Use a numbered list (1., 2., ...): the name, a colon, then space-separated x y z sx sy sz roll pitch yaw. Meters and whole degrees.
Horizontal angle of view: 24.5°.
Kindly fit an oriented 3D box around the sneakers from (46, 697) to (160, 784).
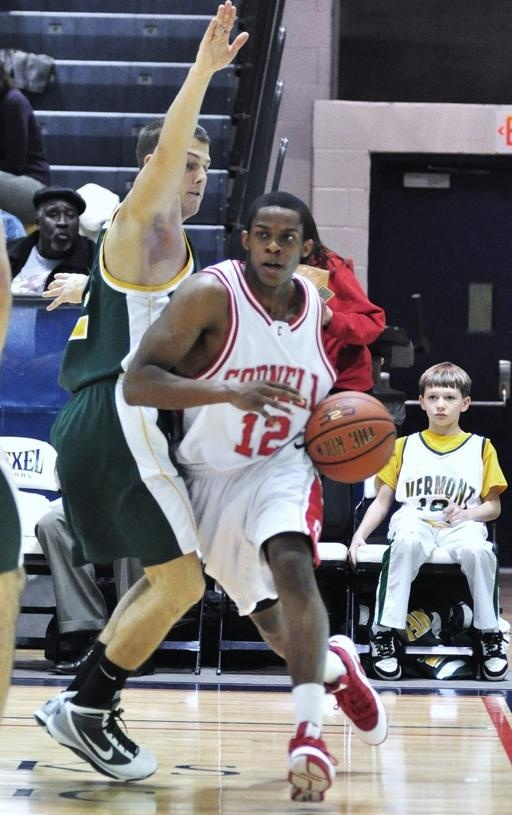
1. sneakers: -0.357 0.774 2.702 0.250 0.212 0.101 3 25 10

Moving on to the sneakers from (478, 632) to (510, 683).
1. sneakers: 0.803 0.858 4.017 0.079 0.073 0.179 -4 43 12

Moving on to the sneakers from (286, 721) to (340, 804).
1. sneakers: 0.128 0.746 2.428 0.079 0.208 0.095 2 51 10

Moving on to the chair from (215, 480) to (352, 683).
1. chair: 0.148 0.644 4.222 0.508 0.668 0.747 1 65 3

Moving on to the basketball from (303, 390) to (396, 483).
1. basketball: 0.234 0.098 2.775 0.236 0.233 0.206 -12 -11 7

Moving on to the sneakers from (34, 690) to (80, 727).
1. sneakers: -0.462 0.708 2.789 0.057 0.067 0.153 37 3 7

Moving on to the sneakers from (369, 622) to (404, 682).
1. sneakers: 0.439 0.851 4.030 0.082 0.080 0.220 -2 9 -2
